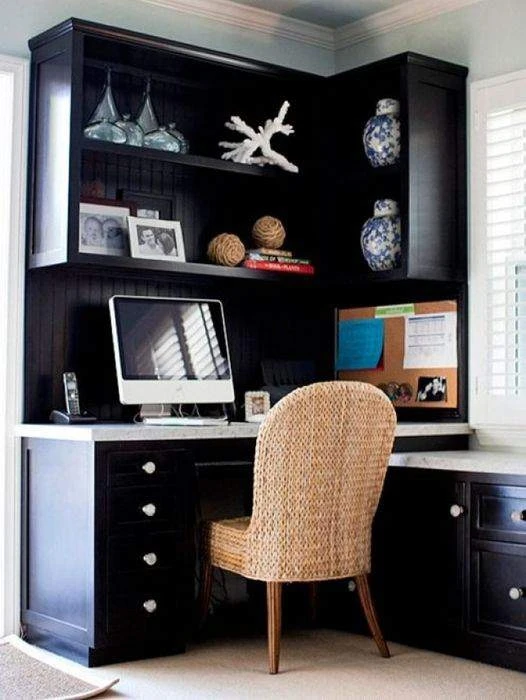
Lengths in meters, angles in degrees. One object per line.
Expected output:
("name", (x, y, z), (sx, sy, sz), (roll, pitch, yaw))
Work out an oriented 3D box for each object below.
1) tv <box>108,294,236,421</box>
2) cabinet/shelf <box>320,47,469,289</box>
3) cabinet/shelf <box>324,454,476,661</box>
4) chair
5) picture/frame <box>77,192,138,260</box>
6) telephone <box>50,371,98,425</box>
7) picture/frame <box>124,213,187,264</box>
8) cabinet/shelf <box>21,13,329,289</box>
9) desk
("tv", (-0.342, 0.030, 2.253), (0.400, 0.427, 0.134), (9, -28, -39))
("cabinet/shelf", (0.484, -0.694, 2.559), (0.382, 0.872, 0.647), (-6, 5, -40))
("cabinet/shelf", (0.424, 0.611, 1.890), (0.179, 0.544, 0.548), (8, -14, -27))
("chair", (0.108, 0.478, 1.872), (0.427, 0.747, 0.520), (2, -3, -31))
("picture/frame", (-0.542, -0.418, 2.182), (0.020, 0.245, 0.267), (-10, -11, 42))
("telephone", (-0.627, 0.161, 2.079), (0.102, 0.161, 0.138), (0, 1, -39))
("picture/frame", (-0.400, -0.402, 2.298), (0.230, 0.184, 0.015), (10, -26, -42))
("cabinet/shelf", (-0.353, -0.746, 2.375), (1.138, 0.910, 0.332), (3, -6, -42))
("desk", (-0.232, 0.587, 2.217), (0.366, 0.614, 1.153), (-7, -10, 36))
